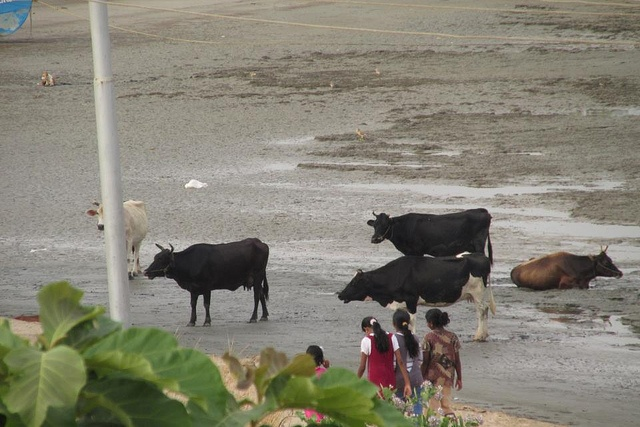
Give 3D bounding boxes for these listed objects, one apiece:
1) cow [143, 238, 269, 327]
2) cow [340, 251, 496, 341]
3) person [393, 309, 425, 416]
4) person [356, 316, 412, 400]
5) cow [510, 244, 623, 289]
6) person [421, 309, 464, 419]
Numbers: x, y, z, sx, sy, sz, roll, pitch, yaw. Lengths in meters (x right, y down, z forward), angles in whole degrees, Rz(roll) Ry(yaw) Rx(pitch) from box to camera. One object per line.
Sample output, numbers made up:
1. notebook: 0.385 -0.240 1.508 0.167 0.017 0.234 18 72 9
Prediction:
1. cow: -3.130 2.010 40.343 3.311 2.527 1.043 1 6 -4
2. cow: 2.198 2.139 39.513 7.072 3.278 1.789 0 -1 4
3. person: 2.388 3.837 35.166 0.995 2.503 0.769 2 -2 -33
4. person: 1.664 3.726 35.137 1.387 1.919 0.716 4 6 18
5. cow: 7.642 1.867 41.802 3.917 1.856 1.197 -2 25 5
6. person: 3.219 3.881 35.632 1.058 2.707 0.592 2 6 5
